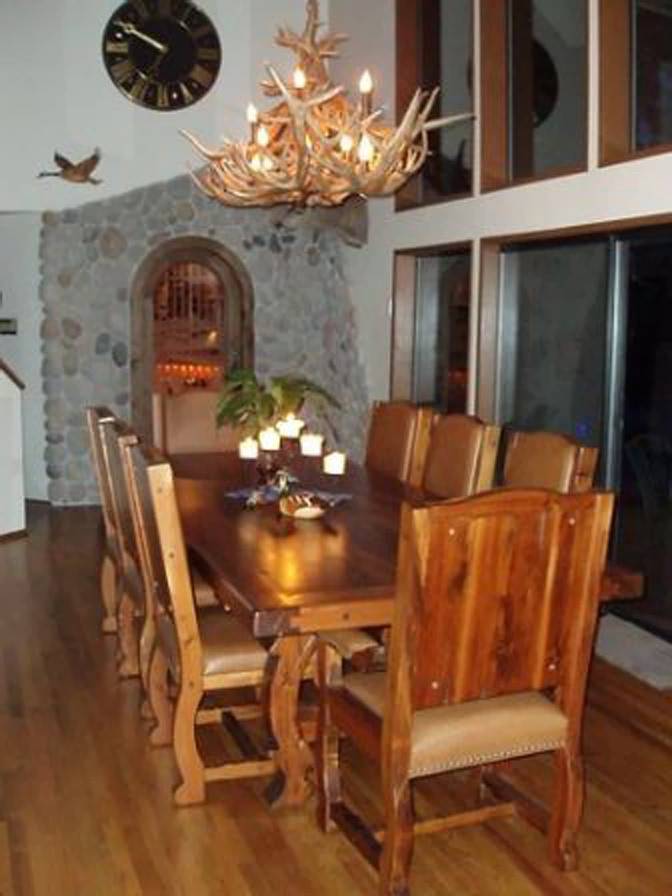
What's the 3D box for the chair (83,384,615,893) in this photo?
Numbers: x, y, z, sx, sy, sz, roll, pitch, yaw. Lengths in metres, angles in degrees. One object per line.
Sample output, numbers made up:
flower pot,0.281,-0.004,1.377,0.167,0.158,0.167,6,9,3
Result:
chair,0.007,0.462,1.719,0.591,0.949,1.002,-10,15,-38
